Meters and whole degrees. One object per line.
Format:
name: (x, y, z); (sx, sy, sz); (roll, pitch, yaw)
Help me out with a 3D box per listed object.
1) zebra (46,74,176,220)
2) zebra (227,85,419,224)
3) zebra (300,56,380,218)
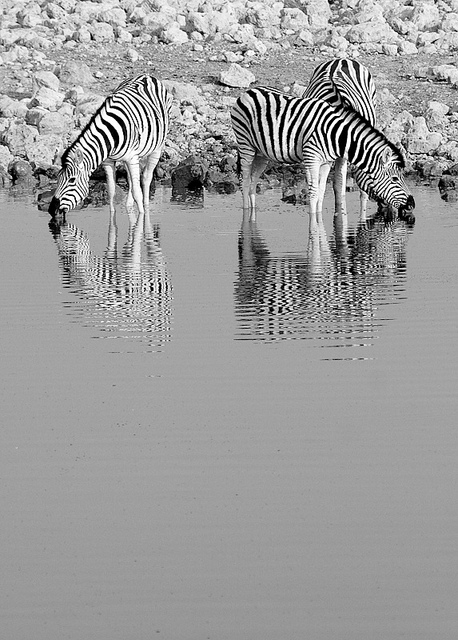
zebra: (-1.435, -2.246, 15.014); (0.989, 1.775, 1.778); (5, 12, 31)
zebra: (1.071, -2.102, 14.417); (2.443, 1.567, 1.099); (10, 15, 43)
zebra: (1.350, -2.553, 16.454); (0.844, 2.418, 3.343); (-1, -6, -6)
